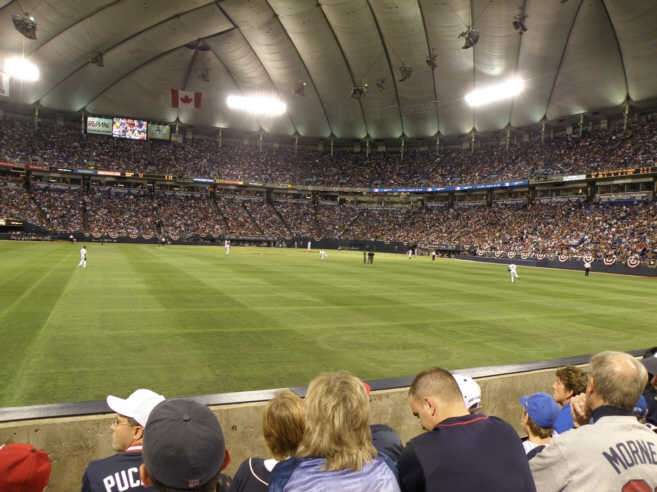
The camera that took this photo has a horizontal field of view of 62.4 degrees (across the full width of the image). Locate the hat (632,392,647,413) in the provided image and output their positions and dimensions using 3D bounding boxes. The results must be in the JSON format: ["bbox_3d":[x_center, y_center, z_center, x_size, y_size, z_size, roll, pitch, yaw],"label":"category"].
[{"bbox_3d":[4.918,2.517,8.560,0.117,0.277,0.351,2,4,41],"label":"hat"}]

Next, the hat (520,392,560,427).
[{"bbox_3d":[3.101,2.384,8.052,0.415,0.323,0.550,11,23,-3],"label":"hat"}]

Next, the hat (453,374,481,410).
[{"bbox_3d":[2.090,2.247,8.144,0.314,0.463,0.474,0,3,8],"label":"hat"}]
